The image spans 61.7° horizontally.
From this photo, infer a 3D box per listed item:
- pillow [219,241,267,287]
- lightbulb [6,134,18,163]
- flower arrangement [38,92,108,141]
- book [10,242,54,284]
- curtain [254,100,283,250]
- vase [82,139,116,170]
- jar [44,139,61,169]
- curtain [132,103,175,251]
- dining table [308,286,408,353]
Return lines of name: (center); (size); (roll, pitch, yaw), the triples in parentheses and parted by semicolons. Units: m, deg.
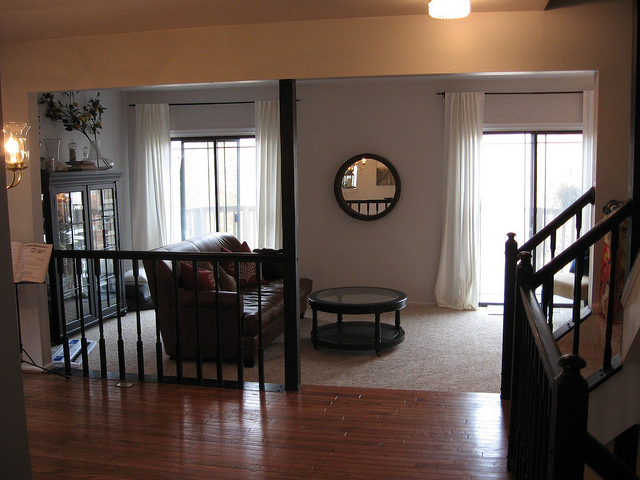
pillow: (-0.792, 0.338, 6.109); (0.626, 0.672, 0.153); (-7, -19, 44)
lightbulb: (-1.894, -0.560, 3.300); (0.058, 0.167, 0.032); (0, 5, 3)
flower arrangement: (-2.882, -1.525, 6.511); (0.553, 0.307, 0.408); (-6, 22, -2)
book: (-2.235, 0.179, 4.152); (0.306, 0.288, 0.267); (-2, 6, -17)
curtain: (-0.681, -0.846, 7.026); (0.342, 1.919, 0.135); (0, 5, 2)
vase: (-2.719, -1.020, 6.584); (0.399, 0.377, 0.403); (-7, 11, -29)
jar: (-2.797, -0.895, 5.600); (0.133, 0.303, 0.221); (-3, 6, -28)
curtain: (-2.308, -0.856, 7.333); (0.582, 1.999, 0.244); (-1, 6, -9)
dining table: (0.402, 0.807, 5.620); (0.947, 0.559, 1.250); (1, 6, 6)
